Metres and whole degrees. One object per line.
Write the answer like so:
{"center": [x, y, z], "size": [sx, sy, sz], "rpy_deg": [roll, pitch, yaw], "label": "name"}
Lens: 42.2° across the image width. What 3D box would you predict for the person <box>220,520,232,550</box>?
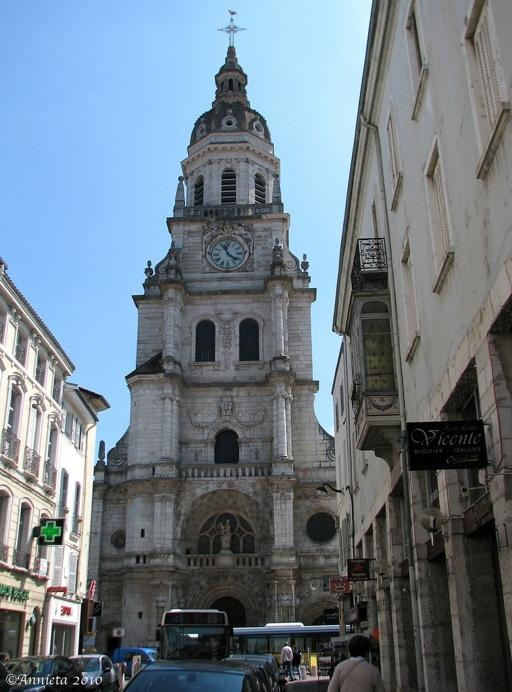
{"center": [-2.099, 13.125, 46.239], "size": [0.718, 2.385, 1.057], "rpy_deg": [0, -26, -3], "label": "person"}
